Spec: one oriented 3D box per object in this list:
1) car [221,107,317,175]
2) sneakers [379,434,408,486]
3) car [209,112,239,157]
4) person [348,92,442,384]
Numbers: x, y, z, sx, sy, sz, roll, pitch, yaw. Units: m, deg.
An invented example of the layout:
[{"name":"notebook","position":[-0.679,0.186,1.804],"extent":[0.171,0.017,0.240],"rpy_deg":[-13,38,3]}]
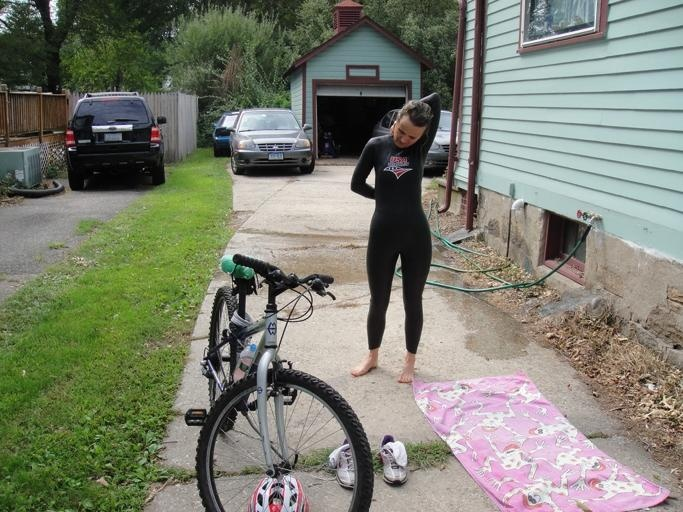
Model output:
[{"name":"car","position":[-1.997,-3.262,15.123],"extent":[2.311,1.821,2.017],"rpy_deg":[-1,15,1]},{"name":"sneakers","position":[0.310,1.212,3.171],"extent":[0.162,0.163,0.398],"rpy_deg":[-1,9,-6]},{"name":"car","position":[-4.646,-4.637,20.249],"extent":[1.183,1.136,2.630],"rpy_deg":[-1,26,-6]},{"name":"person","position":[0.396,-0.100,4.054],"extent":[0.640,2.139,0.450],"rpy_deg":[1,15,10]}]
